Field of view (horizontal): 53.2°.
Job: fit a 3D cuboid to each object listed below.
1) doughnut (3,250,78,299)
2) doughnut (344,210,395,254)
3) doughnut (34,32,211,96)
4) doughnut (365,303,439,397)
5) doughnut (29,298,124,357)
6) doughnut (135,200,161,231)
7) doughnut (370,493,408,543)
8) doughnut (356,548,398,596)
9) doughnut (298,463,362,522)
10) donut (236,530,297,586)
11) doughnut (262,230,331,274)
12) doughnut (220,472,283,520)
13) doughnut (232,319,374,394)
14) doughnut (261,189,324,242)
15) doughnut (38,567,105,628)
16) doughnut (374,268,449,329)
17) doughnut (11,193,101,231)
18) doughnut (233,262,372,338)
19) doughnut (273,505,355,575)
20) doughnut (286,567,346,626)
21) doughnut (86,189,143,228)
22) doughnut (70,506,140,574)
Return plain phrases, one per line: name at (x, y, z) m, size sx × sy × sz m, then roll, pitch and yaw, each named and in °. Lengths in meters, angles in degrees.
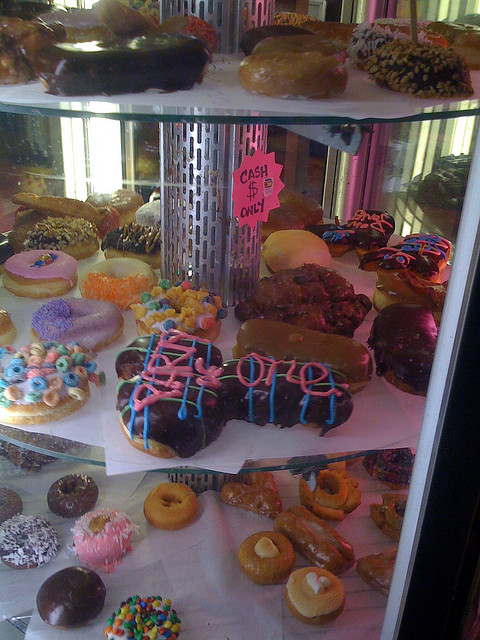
doughnut at (-0.482, -0.114, 1.157) m, size 0.142 × 0.049 × 0.137 m, roll 0°, pitch 30°, yaw -11°
doughnut at (0.393, -0.281, 1.459) m, size 0.131 × 0.057 × 0.178 m, roll 9°, pitch 38°, yaw 14°
doughnut at (-0.139, -0.301, 0.601) m, size 0.177 × 0.053 × 0.096 m, roll -3°, pitch 31°, yaw -12°
doughnut at (0.322, 0.034, 0.902) m, size 0.161 × 0.074 × 0.252 m, roll -1°, pitch 32°, yaw 16°
doughnut at (-0.327, 0.013, 0.965) m, size 0.158 × 0.056 × 0.120 m, roll -1°, pitch 29°, yaw -10°
doughnut at (-0.272, -0.304, 1.381) m, size 0.095 × 0.039 × 0.123 m, roll -2°, pitch 37°, yaw -5°
doughnut at (0.381, 0.507, 1.262) m, size 0.082 × 0.104 × 0.122 m, roll 9°, pitch 23°, yaw 18°
doughnut at (0.315, 0.581, 1.128) m, size 0.082 × 0.075 × 0.103 m, roll 12°, pitch 24°, yaw 23°
doughnut at (0.244, 0.476, 1.346) m, size 0.167 × 0.057 × 0.184 m, roll -2°, pitch 26°, yaw -2°
donut at (0.059, 0.550, 1.108) m, size 0.119 × 0.062 × 0.111 m, roll 3°, pitch 26°, yaw 5°
doughnut at (0.138, -0.175, 1.199) m, size 0.132 × 0.080 × 0.135 m, roll 1°, pitch 20°, yaw -2°
doughnut at (0.043, 0.470, 1.337) m, size 0.174 × 0.077 × 0.132 m, roll 8°, pitch 22°, yaw 17°
doughnut at (0.103, 0.043, 0.811) m, size 0.210 × 0.072 × 0.115 m, roll 11°, pitch 28°, yaw 11°
doughnut at (0.161, -0.343, 1.506) m, size 0.218 × 0.059 × 0.203 m, roll -12°, pitch 37°, yaw -20°
doughnut at (-0.371, 0.604, 1.045) m, size 0.133 × 0.082 × 0.106 m, roll 9°, pitch 23°, yaw 18°
doughnut at (0.370, -0.035, 1.119) m, size 0.124 × 0.053 × 0.154 m, roll 25°, pitch 11°, yaw -3°
doughnut at (-0.551, -0.335, 1.436) m, size 0.162 × 0.044 × 0.154 m, roll 6°, pitch 18°, yaw -8°
doughnut at (0.124, -0.038, 0.950) m, size 0.218 × 0.065 × 0.146 m, roll -1°, pitch 35°, yaw -13°
doughnut at (0.174, 0.532, 1.207) m, size 0.186 × 0.057 × 0.109 m, roll 31°, pitch 31°, yaw 35°
doughnut at (0.172, 0.601, 1.059) m, size 0.138 × 0.082 × 0.128 m, roll -9°, pitch 22°, yaw -6°
doughnut at (-0.387, -0.362, 1.434) m, size 0.151 × 0.078 × 0.140 m, roll -2°, pitch 29°, yaw -1°
doughnut at (-0.342, 0.518, 1.176) m, size 0.147 × 0.069 × 0.159 m, roll -5°, pitch 12°, yaw -4°
